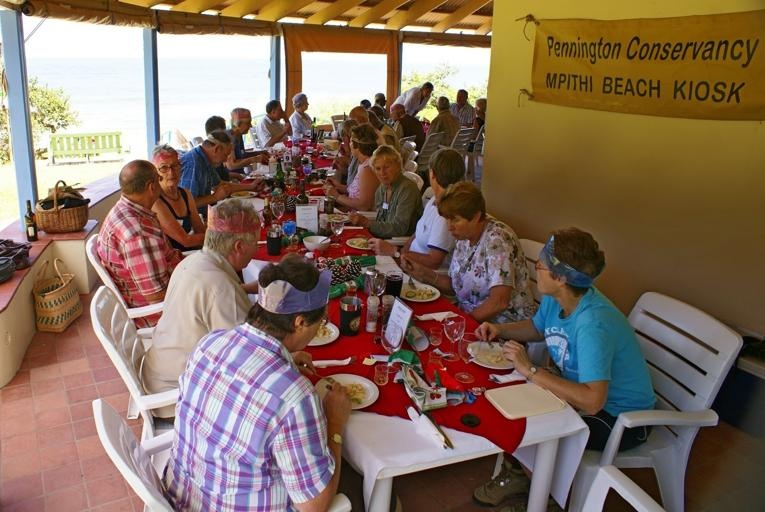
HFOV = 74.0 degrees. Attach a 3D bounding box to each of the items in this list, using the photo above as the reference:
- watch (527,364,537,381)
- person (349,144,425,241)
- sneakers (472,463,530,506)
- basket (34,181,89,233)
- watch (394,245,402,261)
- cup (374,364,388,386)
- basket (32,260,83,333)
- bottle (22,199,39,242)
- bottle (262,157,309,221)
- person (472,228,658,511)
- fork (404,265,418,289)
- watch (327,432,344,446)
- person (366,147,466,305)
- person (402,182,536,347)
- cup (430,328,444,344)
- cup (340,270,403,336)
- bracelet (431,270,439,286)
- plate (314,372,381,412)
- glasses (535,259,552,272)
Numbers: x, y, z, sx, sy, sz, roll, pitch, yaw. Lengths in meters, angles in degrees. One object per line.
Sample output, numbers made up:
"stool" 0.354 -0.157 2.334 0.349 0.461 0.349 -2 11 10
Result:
"watch" 0.774 0.595 2.622 0.046 0.075 0.070 12 30 23
"person" 0.021 -0.577 4.814 0.685 0.920 0.686 4 18 16
"sneakers" 0.730 1.360 3.165 0.395 0.258 0.175 -4 24 -6
"basket" -3.139 -0.534 5.016 0.489 0.528 0.398 -2 18 -19
"watch" 0.124 -0.032 3.913 0.093 0.098 0.097 1 -5 -2
"cup" -0.006 0.604 2.618 0.081 0.095 0.085 1 8 0
"basket" -2.947 0.307 4.582 0.305 0.554 0.531 0 18 -12
"bottle" -3.320 -0.362 4.778 0.109 0.358 0.310 -12 22 -34
"bottle" -0.957 -0.694 5.165 0.361 0.437 1.194 0 23 -9
"person" 1.004 0.690 2.831 0.917 1.692 0.628 12 21 32
"fork" 0.199 0.140 3.479 0.043 0.192 0.032 -7 2 -11
"watch" -0.207 0.809 2.266 0.058 0.037 0.058 -24 -27 24
"person" 0.162 -0.209 4.110 0.855 1.382 0.730 4 9 3
"person" 0.686 0.154 3.565 0.756 1.361 0.714 -13 19 -22
"cup" 0.308 0.443 2.892 0.073 0.079 0.070 3 8 0
"cup" -0.059 0.281 3.008 0.379 0.347 0.150 -12 36 -32
"bracelet" 0.386 0.150 3.667 0.077 0.083 0.081 8 16 20
"plate" -0.146 0.658 2.509 0.177 0.021 0.178 16 31 16
"glasses" 0.871 0.050 2.731 0.068 0.021 0.067 7 19 -13
